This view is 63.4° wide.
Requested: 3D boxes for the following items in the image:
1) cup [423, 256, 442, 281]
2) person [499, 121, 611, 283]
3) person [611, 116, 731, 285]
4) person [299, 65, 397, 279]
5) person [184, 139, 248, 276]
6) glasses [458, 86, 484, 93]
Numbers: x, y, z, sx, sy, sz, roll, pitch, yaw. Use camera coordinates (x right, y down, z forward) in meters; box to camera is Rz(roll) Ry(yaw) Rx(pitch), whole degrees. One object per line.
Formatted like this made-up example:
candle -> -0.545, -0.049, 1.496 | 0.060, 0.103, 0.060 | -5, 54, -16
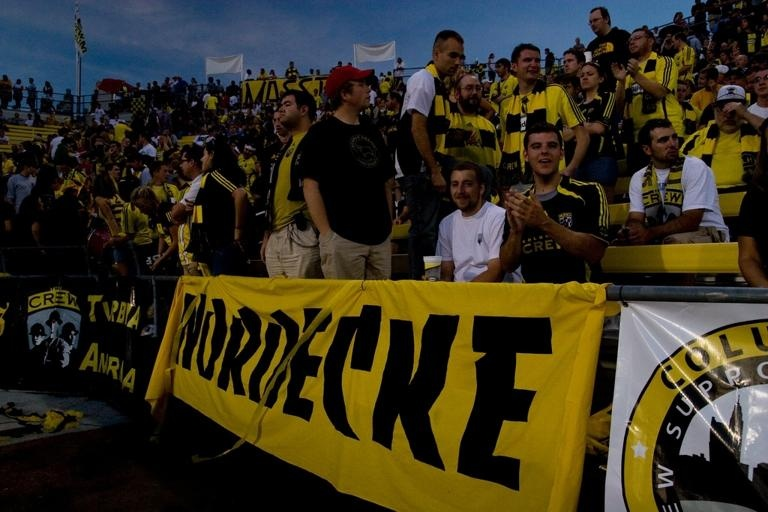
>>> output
cup -> 0.436, 0.110, 5.547 | 0.174, 0.279, 0.178 | 1, -15, 0
person -> 1.352, -0.444, 5.130 | 1.031, 1.325, 0.630 | -2, 5, -24
person -> 2.844, -0.492, 6.222 | 1.078, 1.604, 1.238 | -5, 0, 26
person -> -0.295, -0.787, 5.816 | 0.910, 1.983, 0.555 | -3, 6, -36
person -> -1.939, -0.593, 7.480 | 0.879, 1.654, 0.477 | 2, 5, 27
glasses -> 0.936, -1.806, 6.770 | 0.166, 0.071, 0.224 | -3, 2, -6
